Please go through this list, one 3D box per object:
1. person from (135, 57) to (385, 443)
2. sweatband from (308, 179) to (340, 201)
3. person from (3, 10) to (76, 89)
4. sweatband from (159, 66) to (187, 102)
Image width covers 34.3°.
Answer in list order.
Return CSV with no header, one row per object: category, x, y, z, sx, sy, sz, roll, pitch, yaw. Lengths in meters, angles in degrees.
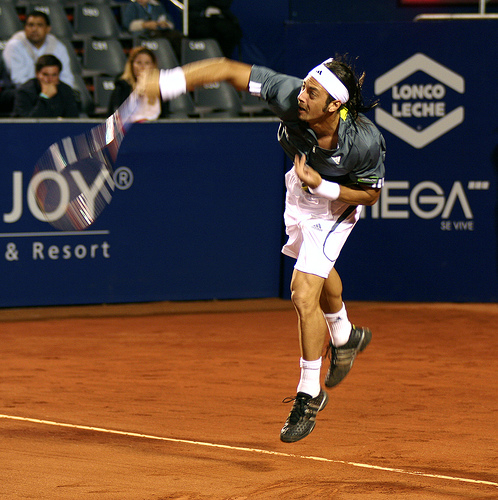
person,0.240,-0.035,4.095,0.759,1.828,1.129,6,13,27
sweatband,0.374,-0.297,3.952,0.155,0.104,0.104,1,11,3
person,-1.952,-1.808,7.324,0.621,0.727,0.859,-5,13,-24
sweatband,-0.345,-0.763,3.673,0.145,0.136,0.151,-1,4,-29
